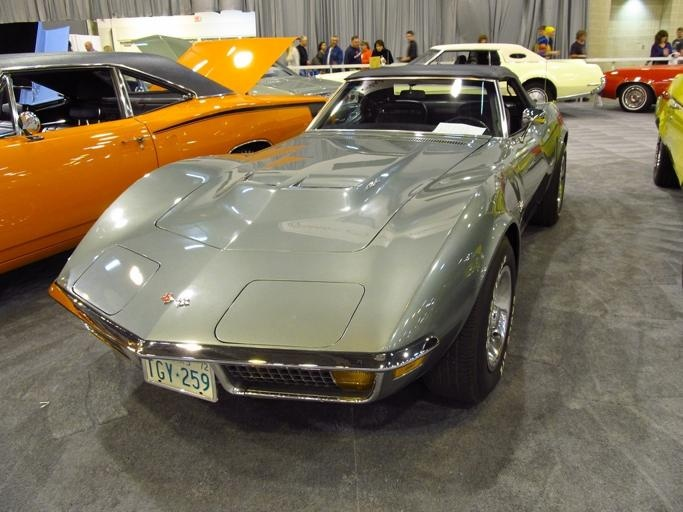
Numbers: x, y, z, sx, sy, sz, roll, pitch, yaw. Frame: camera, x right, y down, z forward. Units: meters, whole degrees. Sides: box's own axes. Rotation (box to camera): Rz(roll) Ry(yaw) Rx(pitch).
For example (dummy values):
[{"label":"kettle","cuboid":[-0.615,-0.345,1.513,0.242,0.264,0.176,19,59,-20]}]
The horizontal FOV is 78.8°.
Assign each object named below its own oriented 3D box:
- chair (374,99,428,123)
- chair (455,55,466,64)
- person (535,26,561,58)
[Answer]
[{"label":"chair","cuboid":[0.496,-1.156,3.356,0.235,0.274,0.263,8,25,32]},{"label":"chair","cuboid":[2.539,-4.180,8.812,0.245,0.157,1.539,5,25,13]},{"label":"person","cuboid":[5.689,-5.825,11.622,0.392,1.198,0.530,32,75,35]}]
